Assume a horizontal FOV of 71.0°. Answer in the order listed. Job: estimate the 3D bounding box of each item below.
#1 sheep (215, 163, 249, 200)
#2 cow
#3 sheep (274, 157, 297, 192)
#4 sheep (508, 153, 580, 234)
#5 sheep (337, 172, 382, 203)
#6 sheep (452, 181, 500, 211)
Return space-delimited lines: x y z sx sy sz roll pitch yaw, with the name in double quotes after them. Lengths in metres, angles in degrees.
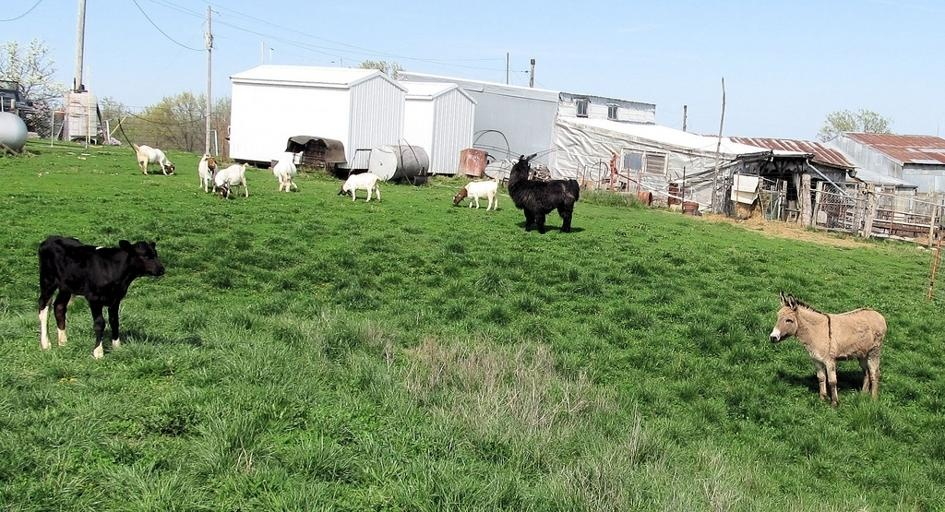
-9.916 -3.084 27.234 1.377 1.294 2.590 0 9 -21 "sheep"
-8.051 0.840 13.915 2.412 2.382 0.868 5 9 7 "cow"
-8.401 -3.599 29.751 0.974 1.319 1.692 1 9 -14 "sheep"
2.652 -2.328 25.311 2.464 2.864 1.245 3 9 -1 "sheep"
-4.992 -3.121 29.654 1.737 1.176 2.601 2 9 -9 "sheep"
0.327 -2.805 30.172 1.798 1.240 2.957 5 9 6 "sheep"
